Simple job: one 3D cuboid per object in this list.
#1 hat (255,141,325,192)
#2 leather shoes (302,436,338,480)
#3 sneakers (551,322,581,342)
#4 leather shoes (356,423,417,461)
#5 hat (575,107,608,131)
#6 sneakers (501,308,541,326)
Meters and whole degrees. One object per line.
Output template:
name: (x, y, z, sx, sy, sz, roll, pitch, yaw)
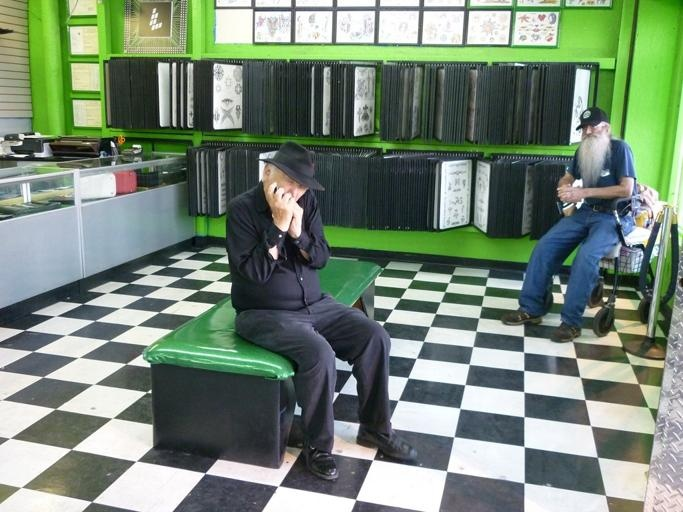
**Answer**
hat: (-0.260, -0.426, 2.719, 0.281, 0.120, 0.240, 34, 10, 9)
leather shoes: (-0.116, 1.075, 2.772, 0.099, 0.102, 0.227, -5, 11, -35)
sneakers: (1.852, 0.617, 4.287, 0.278, 0.128, 0.117, -6, 8, -43)
leather shoes: (0.258, 1.041, 2.948, 0.325, 0.148, 0.135, 10, 16, 19)
hat: (2.216, -1.204, 4.538, 0.281, 0.147, 0.184, -13, 8, -27)
sneakers: (1.577, 0.554, 4.576, 0.360, 0.178, 0.139, 5, 9, 1)
